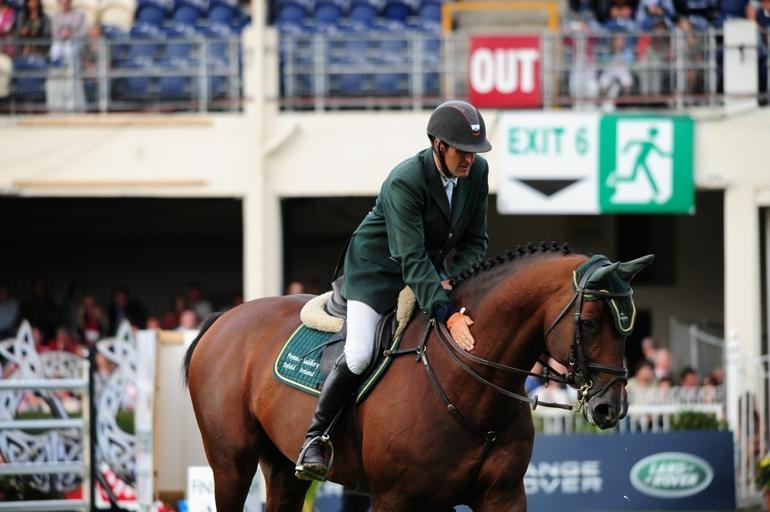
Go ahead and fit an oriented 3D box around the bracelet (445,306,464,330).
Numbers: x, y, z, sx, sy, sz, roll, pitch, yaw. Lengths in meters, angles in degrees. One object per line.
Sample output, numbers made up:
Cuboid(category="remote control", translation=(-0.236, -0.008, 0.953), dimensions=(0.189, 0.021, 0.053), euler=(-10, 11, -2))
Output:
Cuboid(category="bracelet", translation=(0.983, 0.852, 28.696), dimensions=(0.100, 0.255, 0.254), euler=(39, -6, -3))
